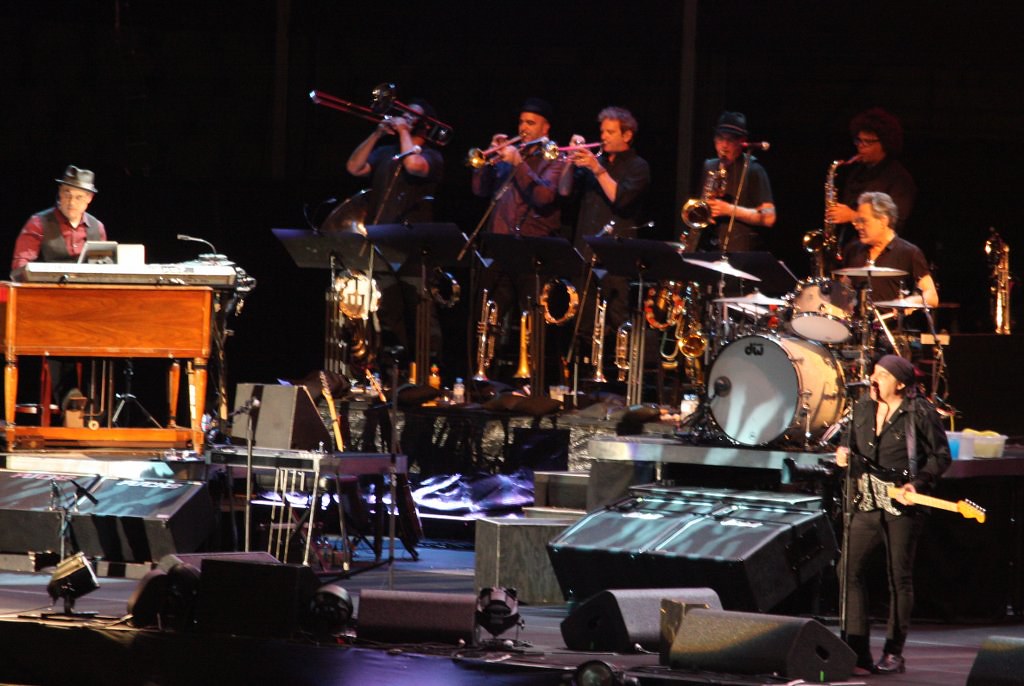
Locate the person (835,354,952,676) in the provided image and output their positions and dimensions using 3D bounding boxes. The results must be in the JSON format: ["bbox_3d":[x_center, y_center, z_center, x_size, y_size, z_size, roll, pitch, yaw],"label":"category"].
[{"bbox_3d":[2.462,1.138,9.897,0.778,1.996,0.872,6,-3,-40],"label":"person"}]

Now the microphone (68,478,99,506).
[{"bbox_3d":[-3.262,1.126,11.240,0.208,0.159,0.112,1,0,-13],"label":"microphone"}]

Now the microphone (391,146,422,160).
[{"bbox_3d":[-0.997,-1.768,13.781,0.223,0.079,0.124,-22,4,15],"label":"microphone"}]

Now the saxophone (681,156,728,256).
[{"bbox_3d":[1.580,-1.173,12.768,0.379,0.922,0.492,12,-12,-40],"label":"saxophone"}]

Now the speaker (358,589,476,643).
[{"bbox_3d":[-0.623,1.740,9.439,0.762,0.232,0.163,1,0,4],"label":"speaker"}]

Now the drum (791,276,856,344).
[{"bbox_3d":[2.304,-0.237,10.945,0.401,0.535,0.824,0,2,28],"label":"drum"}]

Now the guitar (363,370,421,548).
[{"bbox_3d":[-0.985,0.984,13.315,0.572,1.435,0.548,8,-2,-12],"label":"guitar"}]

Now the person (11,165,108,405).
[{"bbox_3d":[-3.969,-0.999,12.951,0.937,2.010,0.708,1,-9,-5],"label":"person"}]

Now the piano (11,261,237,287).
[{"bbox_3d":[-3.141,-0.590,12.106,1.684,0.176,0.195,1,0,-10],"label":"piano"}]

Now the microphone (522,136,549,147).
[{"bbox_3d":[0.230,-1.824,13.277,0.151,0.046,0.189,2,5,35],"label":"microphone"}]

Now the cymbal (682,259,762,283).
[{"bbox_3d":[1.598,-0.585,11.343,0.344,0.061,0.308,16,7,14],"label":"cymbal"}]

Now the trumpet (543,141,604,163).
[{"bbox_3d":[0.537,-1.725,13.151,0.701,0.176,0.204,-7,34,-40],"label":"trumpet"}]
